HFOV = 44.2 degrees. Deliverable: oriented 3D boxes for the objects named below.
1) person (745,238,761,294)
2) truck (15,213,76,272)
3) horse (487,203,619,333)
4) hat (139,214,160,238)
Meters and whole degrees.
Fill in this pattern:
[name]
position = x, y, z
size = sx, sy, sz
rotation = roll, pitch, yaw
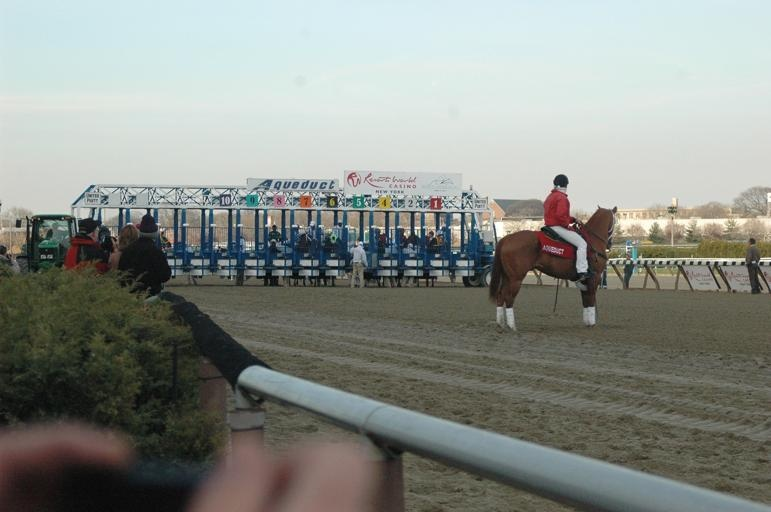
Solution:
[person]
position = 10.909, 0.294, 28.210
size = 0.429, 1.502, 2.086
rotation = -2, 0, 21
[truck]
position = -9.832, -0.374, 28.049
size = 1.616, 1.654, 2.833
rotation = 0, 9, -15
[horse]
position = 2.874, 0.207, 16.178
size = 2.908, 1.992, 0.683
rotation = -2, 1, -25
[hat]
position = -2.742, -0.332, 10.948
size = 0.205, 0.259, 0.352
rotation = -1, 0, -15
